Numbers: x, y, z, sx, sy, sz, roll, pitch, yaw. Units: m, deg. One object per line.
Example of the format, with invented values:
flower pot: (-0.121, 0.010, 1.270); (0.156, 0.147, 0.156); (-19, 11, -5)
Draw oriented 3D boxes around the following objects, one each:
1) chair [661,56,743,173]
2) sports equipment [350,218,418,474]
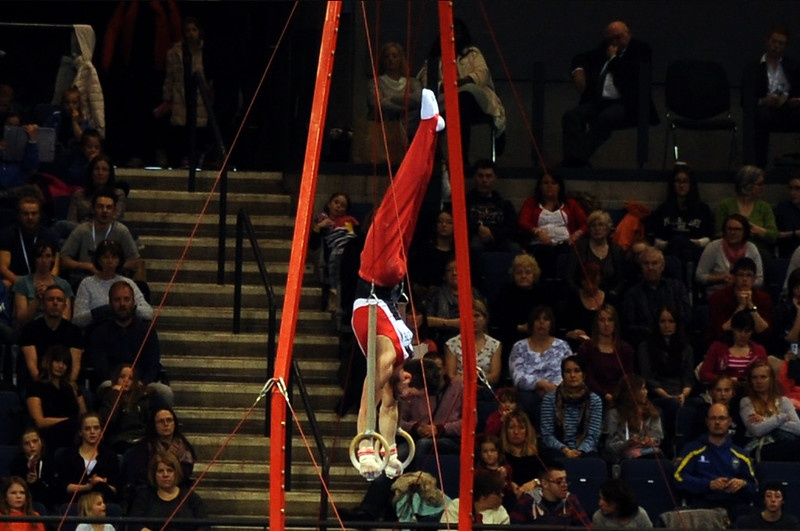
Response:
chair: (3.526, -1.704, 22.429); (0.891, 1.304, 0.875); (0, -1, 0)
sports equipment: (-0.146, 0.669, 16.472); (0.543, 2.273, 1.105); (2, -6, -1)
